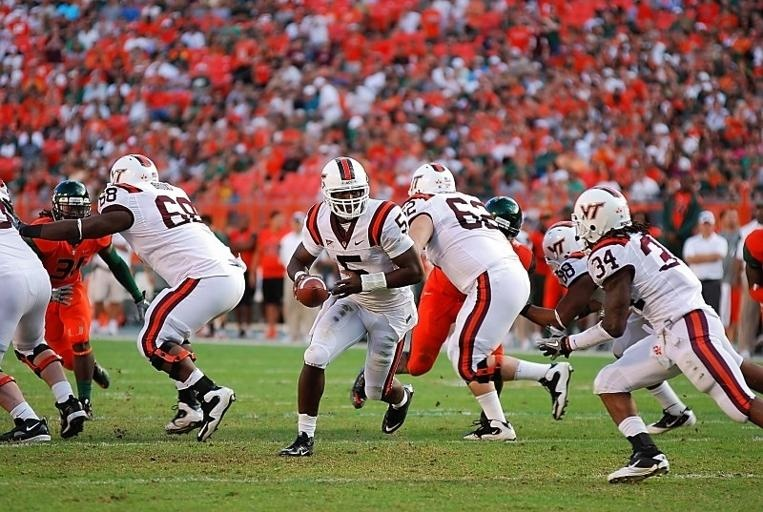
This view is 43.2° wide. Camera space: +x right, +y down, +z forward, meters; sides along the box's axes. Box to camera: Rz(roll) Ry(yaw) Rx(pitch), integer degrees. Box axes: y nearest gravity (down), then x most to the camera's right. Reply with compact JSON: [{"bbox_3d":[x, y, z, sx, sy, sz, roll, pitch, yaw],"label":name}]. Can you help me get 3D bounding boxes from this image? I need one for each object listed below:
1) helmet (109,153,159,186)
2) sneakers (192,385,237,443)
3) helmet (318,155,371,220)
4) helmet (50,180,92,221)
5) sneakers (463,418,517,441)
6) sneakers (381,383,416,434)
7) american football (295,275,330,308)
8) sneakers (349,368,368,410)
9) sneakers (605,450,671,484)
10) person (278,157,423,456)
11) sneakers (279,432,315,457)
[{"bbox_3d":[-2.191,-0.748,8.399,0.365,0.288,0.279,18,9,26],"label":"helmet"},{"bbox_3d":[-1.398,1.272,7.966,0.264,0.567,0.202,15,29,-32],"label":"sneakers"},{"bbox_3d":[-0.322,-0.582,7.746,0.374,0.405,0.495,-4,18,-10],"label":"helmet"},{"bbox_3d":[-2.735,-0.489,8.346,0.373,0.323,0.289,18,16,28],"label":"helmet"},{"bbox_3d":[0.947,1.487,8.215,0.512,0.210,0.169,1,-11,5],"label":"sneakers"},{"bbox_3d":[0.122,1.356,8.448,0.171,0.496,0.214,10,-19,43],"label":"sneakers"},{"bbox_3d":[-0.581,0.299,7.692,0.276,0.216,0.215,6,-26,-21],"label":"american football"},{"bbox_3d":[-0.206,1.197,8.527,0.131,0.374,0.172,7,16,-4],"label":"sneakers"},{"bbox_3d":[1.883,1.530,7.049,0.470,0.222,0.197,-14,-29,5],"label":"sneakers"},{"bbox_3d":[-0.221,0.393,7.871,1.119,2.387,0.894,0,7,-9],"label":"person"},{"bbox_3d":[-0.635,1.495,7.556,0.359,0.201,0.116,2,1,-7],"label":"sneakers"}]
